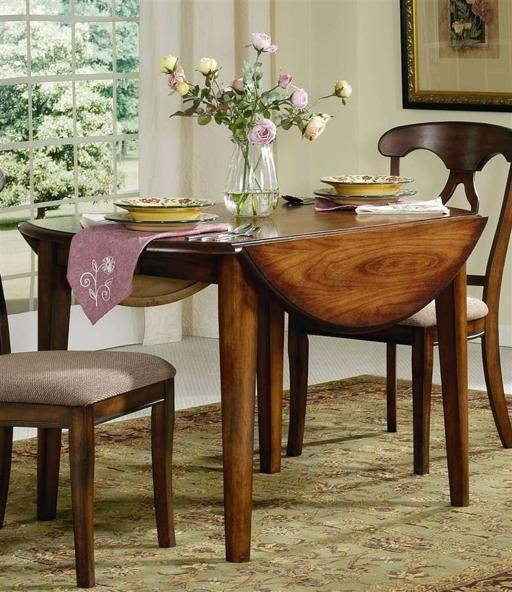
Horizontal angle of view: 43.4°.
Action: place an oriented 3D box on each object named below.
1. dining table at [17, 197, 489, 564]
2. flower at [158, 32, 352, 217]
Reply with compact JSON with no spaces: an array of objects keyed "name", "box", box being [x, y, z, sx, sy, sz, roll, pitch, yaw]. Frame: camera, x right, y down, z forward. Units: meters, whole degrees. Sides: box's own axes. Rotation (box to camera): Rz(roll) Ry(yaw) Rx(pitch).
[{"name":"dining table","box":[0.029,0.205,1.633,0.717,0.524,0.878,12,-12,-31]},{"name":"flower","box":[0.008,-0.427,1.658,0.430,0.418,0.624,15,17,40]}]
